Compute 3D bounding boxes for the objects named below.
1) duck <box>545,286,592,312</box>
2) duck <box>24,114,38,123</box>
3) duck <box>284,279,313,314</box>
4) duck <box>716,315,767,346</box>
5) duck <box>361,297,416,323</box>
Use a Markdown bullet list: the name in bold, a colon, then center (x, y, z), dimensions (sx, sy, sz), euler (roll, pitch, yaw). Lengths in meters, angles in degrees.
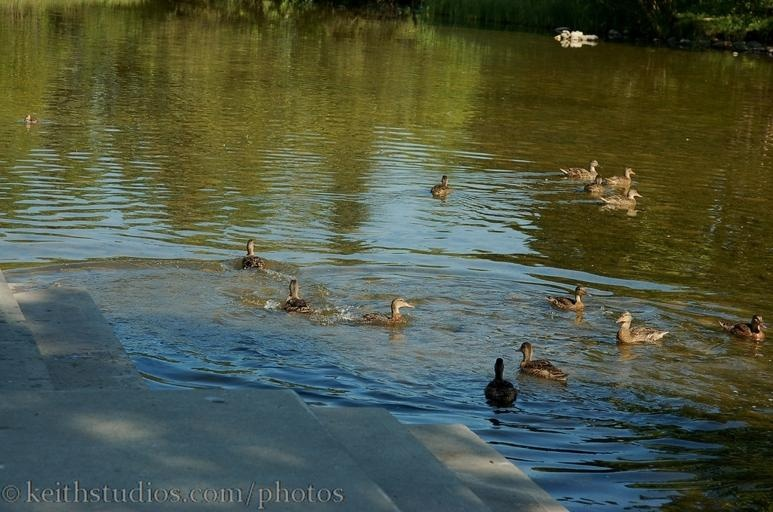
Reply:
- **duck**: center (4.198, 0.987, 20.430), dimensions (0.883, 0.528, 0.550), euler (5, 16, 7)
- **duck**: center (-13.696, -5.213, 33.777), dimensions (0.785, 0.231, 0.748), euler (0, 12, -18)
- **duck**: center (-2.010, 0.878, 19.507), dimensions (0.501, 0.726, 0.850), euler (-10, 21, -38)
- **duck**: center (7.962, 1.566, 19.551), dimensions (1.037, 0.511, 0.914), euler (7, 14, 16)
- **duck**: center (0.035, 1.206, 19.345), dimensions (1.054, 0.508, 0.540), euler (-2, 17, -19)
